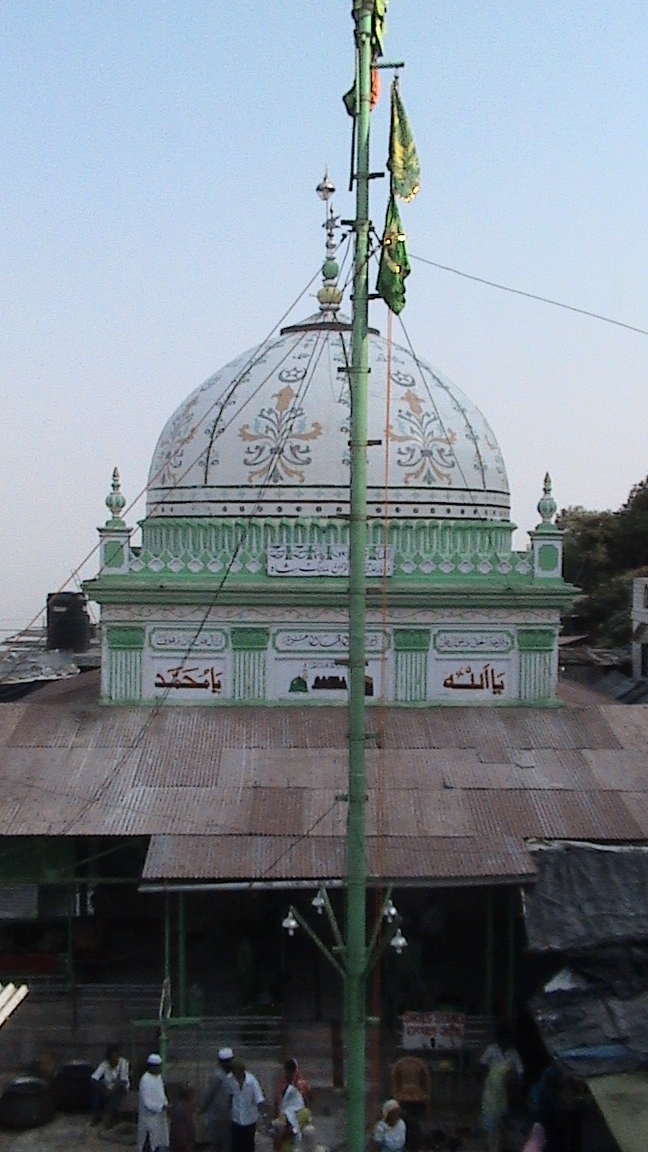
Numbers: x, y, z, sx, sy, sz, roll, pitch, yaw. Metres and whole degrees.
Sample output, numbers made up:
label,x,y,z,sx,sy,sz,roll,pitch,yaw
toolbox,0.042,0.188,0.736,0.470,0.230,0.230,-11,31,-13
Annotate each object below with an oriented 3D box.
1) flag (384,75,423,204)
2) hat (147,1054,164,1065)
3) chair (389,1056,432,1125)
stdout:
label,x,y,z,sx,sy,sz,roll,pitch,yaw
flag,0.614,-3.415,10.292,0.249,1.058,0.272,-1,-2,25
hat,-1.548,4.408,12.058,0.163,0.083,0.228,3,-8,-1
chair,0.856,4.993,12.948,0.440,0.735,0.482,-1,-10,0
